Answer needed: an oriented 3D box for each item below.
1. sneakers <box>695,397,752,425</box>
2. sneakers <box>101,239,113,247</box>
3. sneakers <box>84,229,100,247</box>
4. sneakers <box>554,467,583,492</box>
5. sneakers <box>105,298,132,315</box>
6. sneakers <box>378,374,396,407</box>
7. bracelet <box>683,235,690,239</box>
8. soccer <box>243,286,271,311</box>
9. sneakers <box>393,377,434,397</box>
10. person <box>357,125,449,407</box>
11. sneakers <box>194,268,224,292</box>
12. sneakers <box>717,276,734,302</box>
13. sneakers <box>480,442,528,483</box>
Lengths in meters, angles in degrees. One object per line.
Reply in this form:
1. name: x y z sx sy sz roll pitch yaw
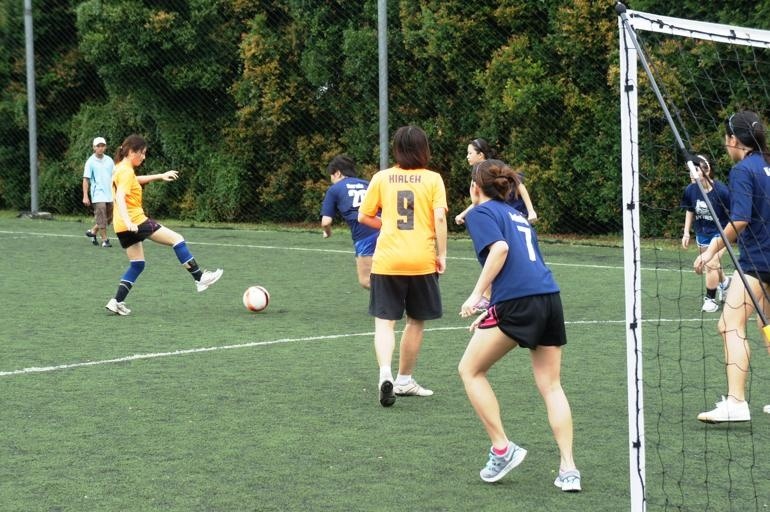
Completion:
1. sneakers: 2.833 1.314 6.942 0.511 0.270 0.192 0 -9 4
2. sneakers: -5.279 -0.258 15.490 0.126 0.163 0.343 -3 3 -37
3. sneakers: -5.677 -0.349 15.804 0.132 0.325 0.108 -26 16 5
4. sneakers: 1.395 1.682 6.206 0.203 0.155 0.134 2 12 9
5. sneakers: -3.279 0.639 10.115 0.333 0.171 0.152 23 25 -38
6. sneakers: 0.023 1.206 7.357 0.141 0.273 0.142 1 12 3
7. bracelet: 3.938 -0.249 10.647 0.058 0.052 0.103 -8 0 -2
8. soccer: -1.615 0.536 10.209 0.297 0.324 0.298 -2 13 -11
9. sneakers: 0.291 1.218 7.666 0.425 0.197 0.152 2 -1 -7
10. person: 0.175 0.047 7.539 0.807 2.439 0.646 -1 12 -3
11. sneakers: -2.396 0.329 11.097 0.310 0.147 0.134 -40 16 7
12. sneakers: 3.796 0.364 9.110 0.162 0.399 0.129 4 -7 -3
13. sneakers: 0.922 1.600 6.311 0.135 0.275 0.110 39 17 -24
